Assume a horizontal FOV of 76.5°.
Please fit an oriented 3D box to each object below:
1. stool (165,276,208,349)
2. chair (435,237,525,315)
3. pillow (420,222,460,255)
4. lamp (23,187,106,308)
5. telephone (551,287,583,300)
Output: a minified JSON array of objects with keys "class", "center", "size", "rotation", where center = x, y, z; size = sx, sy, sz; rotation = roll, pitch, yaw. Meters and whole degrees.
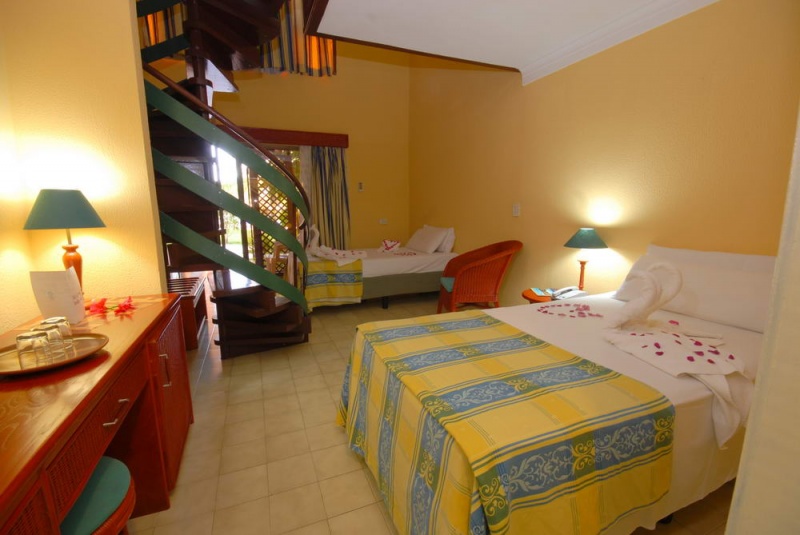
[{"class":"stool","center":[-1.906,0.414,4.518],"size":[0.223,0.292,0.668],"rotation":[-2,13,-11]},{"class":"chair","center":[0.862,0.119,5.688],"size":[0.817,0.959,0.877],"rotation":[1,6,-9]},{"class":"pillow","center":[0.535,-0.370,6.702],"size":[0.398,0.251,0.116],"rotation":[19,-10,41]},{"class":"lamp","center":[-2.162,-0.136,3.320],"size":[0.424,0.757,0.458],"rotation":[8,14,37]},{"class":"telephone","center":[1.487,0.231,4.502],"size":[0.198,0.058,0.145],"rotation":[-9,15,-22]}]
